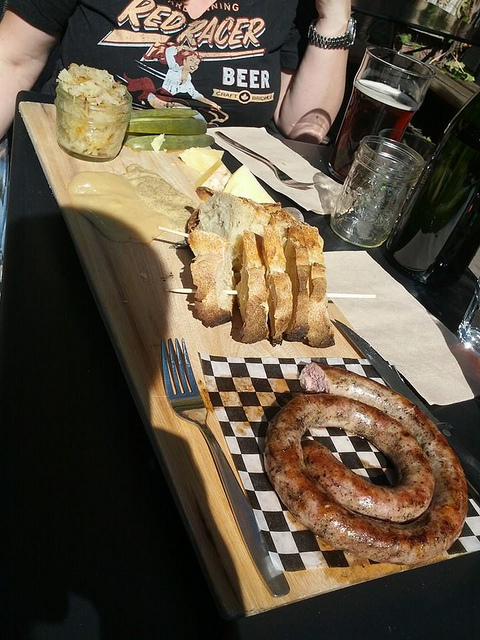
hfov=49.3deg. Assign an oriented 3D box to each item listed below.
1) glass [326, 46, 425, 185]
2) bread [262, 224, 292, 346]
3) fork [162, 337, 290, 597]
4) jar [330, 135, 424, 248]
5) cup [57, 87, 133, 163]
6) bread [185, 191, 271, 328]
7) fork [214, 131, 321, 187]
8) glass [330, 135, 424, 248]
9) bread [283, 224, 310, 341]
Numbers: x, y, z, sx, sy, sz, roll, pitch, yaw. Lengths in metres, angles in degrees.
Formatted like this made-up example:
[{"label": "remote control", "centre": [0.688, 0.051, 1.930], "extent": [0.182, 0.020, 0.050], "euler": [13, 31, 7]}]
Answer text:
[{"label": "glass", "centre": [0.591, -0.845, 2.436], "extent": [0.353, 0.658, 0.336], "euler": [-7, 48, -28]}, {"label": "bread", "centre": [0.071, -0.114, 1.478], "extent": [0.141, 0.273, 0.120], "euler": [4, 27, 1]}, {"label": "fork", "centre": [-0.076, 0.256, 1.118], "extent": [0.090, 0.046, 0.689], "euler": [-1, 40, -27]}, {"label": "jar", "centre": [0.512, -0.460, 2.082], "extent": [0.306, 0.452, 0.262], "euler": [-6, 48, -28]}, {"label": "cup", "centre": [-0.590, -0.743, 1.989], "extent": [0.257, 0.188, 0.250], "euler": [6, 23, -3]}, {"label": "bread", "centre": [0.057, -0.214, 1.532], "extent": [0.102, 0.372, 0.377], "euler": [-5, 25, 16]}, {"label": "fork", "centre": [0.108, -0.711, 2.319], "extent": [0.085, 0.096, 0.667], "euler": [-23, 51, -37]}, {"label": "glass", "centre": [0.489, -0.460, 1.965], "extent": [0.301, 0.411, 0.317], "euler": [-19, 30, -32]}, {"label": "bread", "centre": [0.166, -0.095, 1.487], "extent": [0.075, 0.249, 0.273], "euler": [-1, 79, -9]}]
